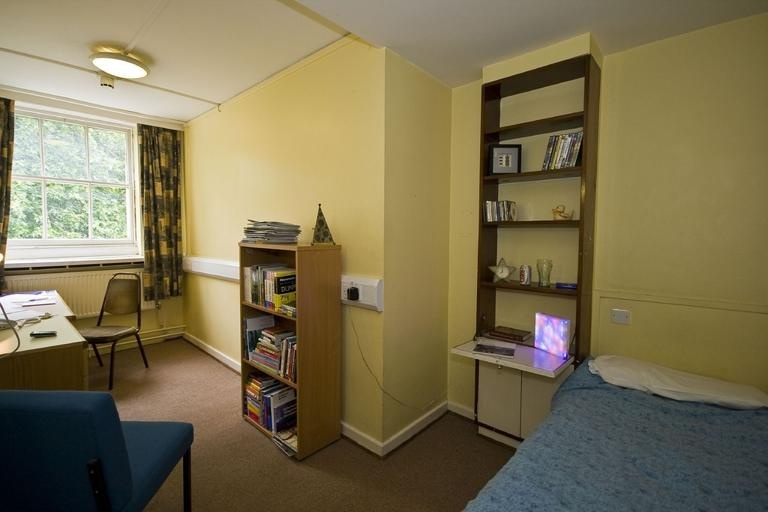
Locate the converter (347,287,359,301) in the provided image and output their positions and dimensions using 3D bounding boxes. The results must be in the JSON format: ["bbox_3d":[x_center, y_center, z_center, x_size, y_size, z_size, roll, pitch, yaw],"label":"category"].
[{"bbox_3d":[-0.261,0.316,4.168,0.117,0.108,0.044,5,8,34],"label":"converter"}]

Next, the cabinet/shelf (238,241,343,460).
[{"bbox_3d":[-0.808,0.733,4.393,0.883,1.698,0.533,6,9,41],"label":"cabinet/shelf"}]

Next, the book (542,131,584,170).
[{"bbox_3d":[1.406,-0.811,3.996,0.193,0.346,0.336,2,-2,-23],"label":"book"}]

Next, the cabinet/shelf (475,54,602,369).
[{"bbox_3d":[1.250,-0.507,4.197,0.835,2.280,0.358,-4,-20,34],"label":"cabinet/shelf"}]

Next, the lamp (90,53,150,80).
[{"bbox_3d":[-2.356,-1.693,4.558,0.454,0.136,0.372,0,7,1],"label":"lamp"}]

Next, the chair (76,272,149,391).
[{"bbox_3d":[-2.831,0.737,5.377,0.593,0.983,1.111,-4,8,-28],"label":"chair"}]

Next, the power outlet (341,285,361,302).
[{"bbox_3d":[-0.280,0.270,4.190,0.109,0.189,0.199,-1,1,-35],"label":"power outlet"}]

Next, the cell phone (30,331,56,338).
[{"bbox_3d":[-2.591,0.590,3.899,0.073,0.040,0.141,6,0,44],"label":"cell phone"}]

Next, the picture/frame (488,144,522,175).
[{"bbox_3d":[0.997,-0.786,4.234,0.255,0.255,0.085,2,1,11],"label":"picture/frame"}]

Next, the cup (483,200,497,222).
[{"bbox_3d":[0.878,-0.357,4.250,0.102,0.190,0.138,-7,13,-37],"label":"cup"}]
